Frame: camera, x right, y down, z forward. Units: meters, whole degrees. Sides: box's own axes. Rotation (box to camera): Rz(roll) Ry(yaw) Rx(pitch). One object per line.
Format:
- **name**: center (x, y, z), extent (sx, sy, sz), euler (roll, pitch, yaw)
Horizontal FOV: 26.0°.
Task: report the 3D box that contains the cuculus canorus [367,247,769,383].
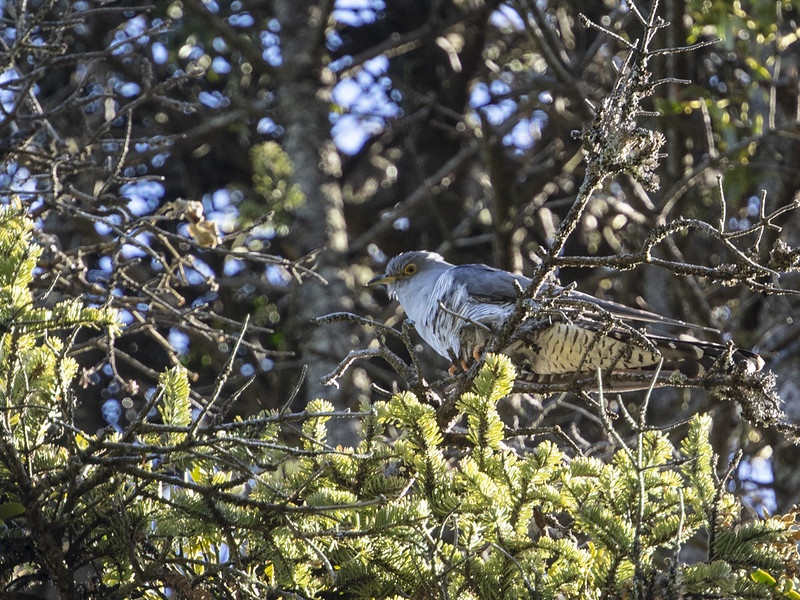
- **cuculus canorus**: center (1.096, 0.030, 13.303), extent (2.389, 1.138, 0.753), euler (-8, -28, 16)
